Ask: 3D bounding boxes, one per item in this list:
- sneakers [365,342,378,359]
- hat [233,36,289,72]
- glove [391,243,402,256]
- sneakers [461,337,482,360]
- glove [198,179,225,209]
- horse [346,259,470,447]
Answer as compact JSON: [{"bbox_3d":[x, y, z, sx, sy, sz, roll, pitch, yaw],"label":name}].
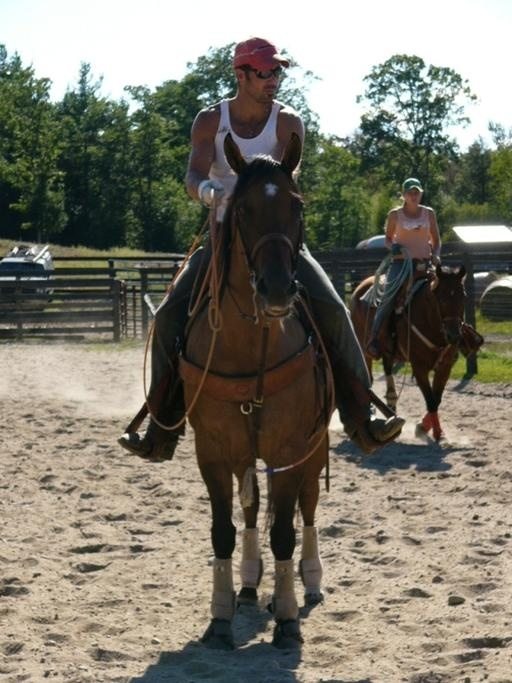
[{"bbox_3d":[1.127,0.094,13.061,0.096,0.147,0.049,-15,-11,43],"label":"sneakers"},{"bbox_3d":[0.025,-1.704,7.944,0.327,0.188,0.215,-1,9,0],"label":"hat"},{"bbox_3d":[1.339,-0.877,12.882,0.080,0.110,0.107,11,21,31],"label":"glove"},{"bbox_3d":[2.234,0.079,13.946,0.164,0.254,0.221,7,13,3],"label":"sneakers"},{"bbox_3d":[-0.253,-0.819,7.472,0.114,0.160,0.139,-1,3,5],"label":"glove"},{"bbox_3d":[1.465,0.121,13.091,0.564,1.572,2.354,-4,5,-17],"label":"horse"}]
